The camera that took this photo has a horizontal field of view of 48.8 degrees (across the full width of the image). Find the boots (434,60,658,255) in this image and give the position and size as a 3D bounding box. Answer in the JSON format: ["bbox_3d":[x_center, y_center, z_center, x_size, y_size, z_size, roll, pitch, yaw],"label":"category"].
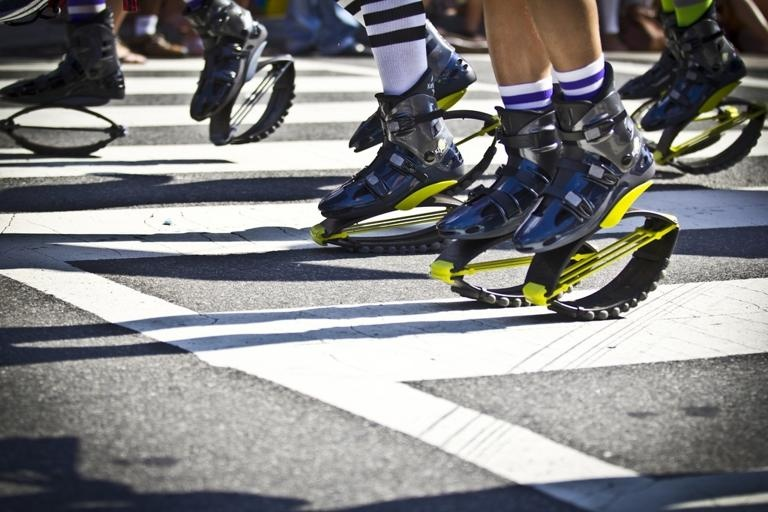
[{"bbox_3d":[0.539,-0.324,2.820,0.576,0.639,0.527,27,37,21],"label":"boots"}]
